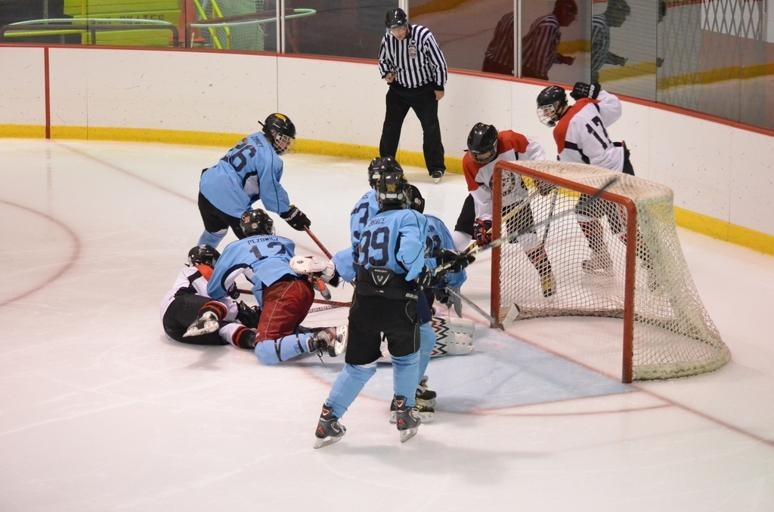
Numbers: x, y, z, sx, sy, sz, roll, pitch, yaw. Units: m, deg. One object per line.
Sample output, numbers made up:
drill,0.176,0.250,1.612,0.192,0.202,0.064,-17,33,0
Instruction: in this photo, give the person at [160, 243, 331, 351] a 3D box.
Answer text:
person,-1.129,0.305,5.136,0.587,0.490,1.300,3,19,-24

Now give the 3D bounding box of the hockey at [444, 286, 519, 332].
hockey,0.558,0.268,4.647,0.402,0.134,0.378,3,-1,-18

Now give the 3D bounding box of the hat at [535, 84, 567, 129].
hat,1.260,-1.091,5.861,0.284,0.279,0.234,-8,-6,-10

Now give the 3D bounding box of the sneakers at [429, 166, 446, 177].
sneakers,0.521,-0.867,8.169,0.169,0.082,0.067,-2,35,1

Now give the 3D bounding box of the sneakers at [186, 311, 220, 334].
sneakers,-1.137,0.418,4.820,0.191,0.085,0.125,-20,-3,4

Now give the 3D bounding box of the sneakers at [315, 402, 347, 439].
sneakers,-0.270,0.856,4.078,0.080,0.198,0.228,13,0,36

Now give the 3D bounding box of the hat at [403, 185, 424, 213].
hat,0.137,-0.327,4.528,0.145,0.166,0.174,-1,2,-8

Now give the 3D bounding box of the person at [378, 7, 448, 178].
person,0.264,-1.616,8.080,0.707,1.721,0.394,2,20,0

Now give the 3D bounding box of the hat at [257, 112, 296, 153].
hat,-0.804,-0.946,5.959,0.324,0.276,0.224,2,30,-14

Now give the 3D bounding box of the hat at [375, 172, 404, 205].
hat,0.020,-0.348,4.120,0.199,0.198,0.231,1,15,0

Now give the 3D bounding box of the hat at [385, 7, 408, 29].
hat,0.102,-2.351,7.701,0.211,0.217,0.226,4,59,17

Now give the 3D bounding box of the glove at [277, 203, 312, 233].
glove,-0.701,-0.294,5.978,0.223,0.167,0.093,42,9,-16

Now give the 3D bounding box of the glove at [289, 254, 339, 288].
glove,-0.467,0.084,4.925,0.156,0.101,0.251,9,-1,43

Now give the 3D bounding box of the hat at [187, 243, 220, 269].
hat,-1.265,-0.021,5.307,0.147,0.157,0.175,10,39,22

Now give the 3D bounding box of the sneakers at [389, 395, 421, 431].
sneakers,0.108,0.822,4.162,0.112,0.190,0.290,-2,-7,16

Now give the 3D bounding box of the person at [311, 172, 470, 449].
person,0.074,0.252,4.125,0.543,1.337,0.956,10,22,23

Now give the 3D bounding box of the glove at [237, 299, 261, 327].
glove,-0.959,0.388,5.260,0.130,0.186,0.068,-51,9,-33

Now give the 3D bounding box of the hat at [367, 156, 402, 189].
hat,-0.033,-0.557,5.251,0.256,0.255,0.273,3,16,13

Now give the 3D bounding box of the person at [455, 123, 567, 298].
person,0.722,-0.366,5.818,0.967,1.372,0.616,-8,29,8

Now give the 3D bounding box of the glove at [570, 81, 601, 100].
glove,1.514,-1.244,6.026,0.222,0.077,0.164,4,41,8

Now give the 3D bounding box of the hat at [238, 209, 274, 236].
hat,-0.849,-0.224,5.195,0.171,0.177,0.203,4,12,42
